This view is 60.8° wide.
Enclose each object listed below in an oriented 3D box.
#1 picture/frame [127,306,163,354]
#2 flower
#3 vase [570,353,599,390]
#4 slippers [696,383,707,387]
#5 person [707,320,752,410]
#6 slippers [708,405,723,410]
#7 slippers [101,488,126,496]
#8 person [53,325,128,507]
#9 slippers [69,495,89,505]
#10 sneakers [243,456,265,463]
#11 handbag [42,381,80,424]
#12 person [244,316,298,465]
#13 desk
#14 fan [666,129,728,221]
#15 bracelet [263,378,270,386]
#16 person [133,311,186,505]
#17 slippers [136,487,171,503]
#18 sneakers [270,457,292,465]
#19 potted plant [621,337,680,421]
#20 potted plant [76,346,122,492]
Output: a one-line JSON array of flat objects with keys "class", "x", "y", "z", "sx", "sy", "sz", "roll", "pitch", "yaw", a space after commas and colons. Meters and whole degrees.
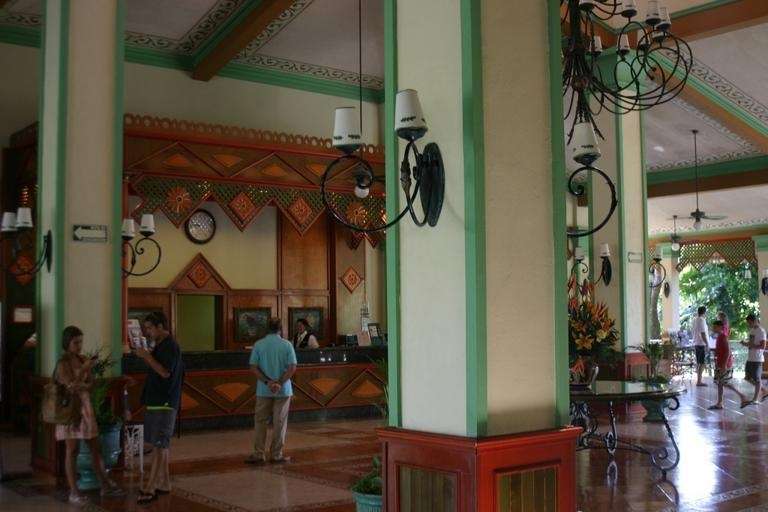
[{"class": "picture/frame", "x": -4.453, "y": 1.273, "z": 12.201, "sx": 0.835, "sy": 0.845, "sz": 0.470, "roll": -7, "pitch": 1, "yaw": 17}, {"class": "flower", "x": 2.231, "y": 0.807, "z": 7.005, "sx": 0.488, "sy": 1.153, "sz": 1.114, "roll": -1, "pitch": -4, "yaw": 18}, {"class": "vase", "x": 2.288, "y": 1.283, "z": 7.367, "sx": 0.407, "sy": 0.418, "sz": 0.380, "roll": 0, "pitch": -2, "yaw": 2}, {"class": "slippers", "x": 7.621, "y": 3.064, "z": 15.713, "sx": 0.208, "sy": 0.066, "sz": 0.628, "roll": -2, "pitch": -4, "yaw": 34}, {"class": "person", "x": 6.711, "y": 2.067, "z": 12.761, "sx": 0.631, "sy": 1.609, "sz": 2.290, "roll": -2, "pitch": -4, "yaw": 29}, {"class": "slippers", "x": 6.088, "y": 2.764, "z": 12.034, "sx": 0.229, "sy": 0.060, "sz": 0.501, "roll": -2, "pitch": -4, "yaw": 30}, {"class": "slippers", "x": -2.938, "y": 2.551, "z": 7.074, "sx": 0.214, "sy": 0.098, "sz": 0.107, "roll": -2, "pitch": -1, "yaw": -12}, {"class": "person", "x": -3.181, "y": 1.656, "z": 6.956, "sx": 0.616, "sy": 1.805, "sz": 0.340, "roll": 2, "pitch": -4, "yaw": -29}, {"class": "slippers", "x": -3.180, "y": 2.533, "z": 6.810, "sx": 0.173, "sy": 0.078, "sz": 0.090, "roll": 0, "pitch": -4, "yaw": 6}, {"class": "sneakers", "x": -1.646, "y": 2.564, "z": 8.271, "sx": 0.230, "sy": 0.082, "sz": 0.115, "roll": 0, "pitch": -3, "yaw": 2}, {"class": "handbag", "x": -3.441, "y": 1.539, "z": 6.953, "sx": 0.419, "sy": 0.492, "sz": 0.266, "roll": 1, "pitch": 0, "yaw": 17}, {"class": "person", "x": -1.549, "y": 1.747, "z": 8.881, "sx": 0.579, "sy": 1.837, "sz": 1.347, "roll": 1, "pitch": -3, "yaw": -12}, {"class": "desk", "x": 3.283, "y": 2.274, "z": 8.455, "sx": 1.206, "sy": 0.698, "sz": 1.254, "roll": 26, "pitch": -32, "yaw": -33}, {"class": "fan", "x": 7.230, "y": -1.807, "z": 15.222, "sx": 1.417, "sy": 2.225, "sz": 1.508, "roll": -9, "pitch": 8, "yaw": -21}, {"class": "bracelet", "x": -1.502, "y": 1.609, "z": 8.341, "sx": 0.057, "sy": 0.093, "sz": 0.079, "roll": 1, "pitch": 1, "yaw": -21}, {"class": "person", "x": -2.392, "y": 1.574, "z": 6.926, "sx": 0.463, "sy": 1.964, "sz": 0.549, "roll": 1, "pitch": -4, "yaw": -15}, {"class": "slippers", "x": -2.452, "y": 2.509, "z": 6.943, "sx": 0.174, "sy": 0.107, "sz": 0.397, "roll": -1, "pitch": -4, "yaw": 21}, {"class": "sneakers", "x": -1.316, "y": 2.592, "z": 8.319, "sx": 0.257, "sy": 0.117, "sz": 0.087, "roll": -3, "pitch": -2, "yaw": -6}, {"class": "potted plant", "x": 4.371, "y": 2.009, "z": 10.598, "sx": 0.915, "sy": 1.324, "sz": 0.885, "roll": 8, "pitch": -11, "yaw": -43}, {"class": "potted plant", "x": -3.343, "y": 1.948, "z": 7.567, "sx": 0.476, "sy": 1.479, "sz": 0.524, "roll": -3, "pitch": -4, "yaw": 4}]
